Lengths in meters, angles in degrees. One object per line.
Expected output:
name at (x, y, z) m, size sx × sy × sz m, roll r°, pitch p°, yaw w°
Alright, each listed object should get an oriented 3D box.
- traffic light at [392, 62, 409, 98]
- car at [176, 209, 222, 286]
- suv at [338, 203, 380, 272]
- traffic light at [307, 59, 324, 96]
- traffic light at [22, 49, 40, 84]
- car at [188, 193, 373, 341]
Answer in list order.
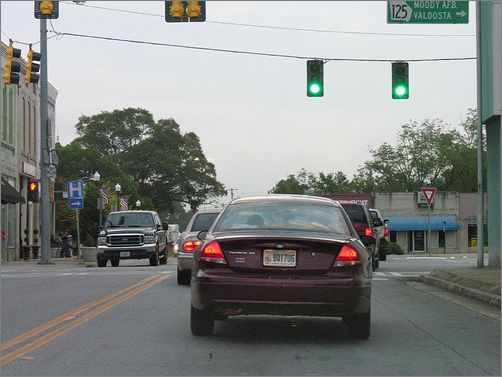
traffic light at (5.016, -3.666, 21.014) m, size 0.524 × 1.288 × 0.384 m, roll -1°, pitch 0°, yaw 11°
car at (-1.409, 1.310, 15.692) m, size 1.116 × 1.138 × 2.547 m, roll 0°, pitch 2°, yaw 1°
suv at (3.651, 1.340, 21.348) m, size 1.622 × 1.599 × 3.419 m, roll 0°, pitch 1°, yaw 9°
traffic light at (2.149, -3.736, 21.075) m, size 0.555 × 1.252 × 0.318 m, roll -1°, pitch 0°, yaw -1°
traffic light at (-8.153, -4.539, 23.054) m, size 0.492 × 1.288 × 0.390 m, roll 6°, pitch 4°, yaw -33°
car at (0.417, 1.192, 8.624) m, size 2.492 × 1.913 × 1.133 m, roll -1°, pitch 0°, yaw -1°
